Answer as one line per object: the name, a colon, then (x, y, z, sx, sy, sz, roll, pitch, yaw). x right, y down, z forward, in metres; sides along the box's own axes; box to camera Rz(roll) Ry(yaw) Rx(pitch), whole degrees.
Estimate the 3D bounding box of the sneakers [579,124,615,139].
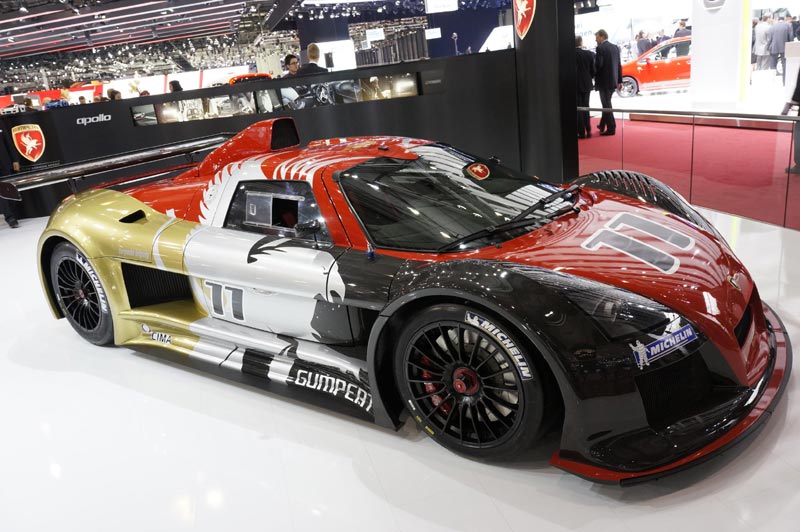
sneakers: (2.844, -1.947, 6.759, 0.482, 0.190, 0.146, 12, 67, 37)
